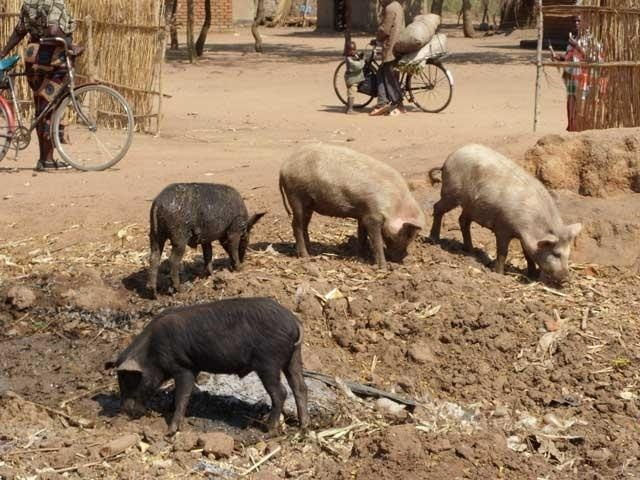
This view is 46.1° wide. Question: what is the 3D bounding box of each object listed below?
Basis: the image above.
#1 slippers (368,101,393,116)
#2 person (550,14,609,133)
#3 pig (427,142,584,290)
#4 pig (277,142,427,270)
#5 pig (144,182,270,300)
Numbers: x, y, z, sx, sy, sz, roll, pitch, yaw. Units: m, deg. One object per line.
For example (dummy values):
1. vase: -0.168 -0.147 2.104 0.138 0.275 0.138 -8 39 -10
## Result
1. slippers: 1.343 -2.867 16.363 0.578 0.261 0.221 -13 15 -10
2. person: 4.250 -2.813 12.585 0.832 1.997 0.764 14 22 29
3. pig: 2.061 -0.199 8.485 0.601 1.174 2.162 -12 35 -31
4. pig: 0.354 -0.371 8.267 1.579 1.259 0.415 7 14 19
5. pig: -1.201 -0.006 7.583 1.077 1.138 0.363 -8 16 -37
